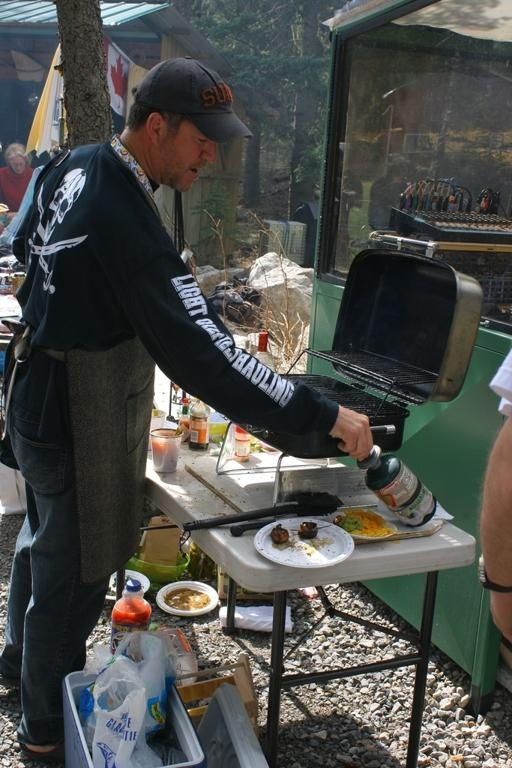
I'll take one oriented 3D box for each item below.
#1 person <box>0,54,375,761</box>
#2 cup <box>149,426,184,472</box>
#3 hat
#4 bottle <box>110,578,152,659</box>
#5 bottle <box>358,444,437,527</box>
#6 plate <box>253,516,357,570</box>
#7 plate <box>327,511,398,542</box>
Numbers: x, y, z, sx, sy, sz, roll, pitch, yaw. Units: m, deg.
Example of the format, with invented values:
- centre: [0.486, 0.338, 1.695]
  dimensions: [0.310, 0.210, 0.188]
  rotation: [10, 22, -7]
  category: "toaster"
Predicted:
- centre: [-0.395, 0.273, 1.758]
  dimensions: [1.091, 1.834, 0.393]
  rotation: [17, 18, 31]
  category: "person"
- centre: [-0.299, 0.217, 2.127]
  dimensions: [0.135, 0.126, 0.124]
  rotation: [2, 11, 0]
  category: "cup"
- centre: [-0.153, -0.738, 1.594]
  dimensions: [0.340, 0.174, 0.233]
  rotation: [29, 33, 27]
  category: "hat"
- centre: [-0.357, 0.682, 1.819]
  dimensions: [0.124, 0.203, 0.108]
  rotation: [1, 1, 27]
  category: "bottle"
- centre: [0.355, 0.263, 1.649]
  dimensions: [0.116, 0.270, 0.113]
  rotation: [-32, 28, 19]
  category: "bottle"
- centre: [0.114, 0.381, 1.528]
  dimensions: [0.235, 0.037, 0.256]
  rotation: [7, 14, 1]
  category: "plate"
- centre: [0.287, 0.368, 1.639]
  dimensions: [0.087, 0.024, 0.083]
  rotation: [-2, 15, -10]
  category: "plate"
